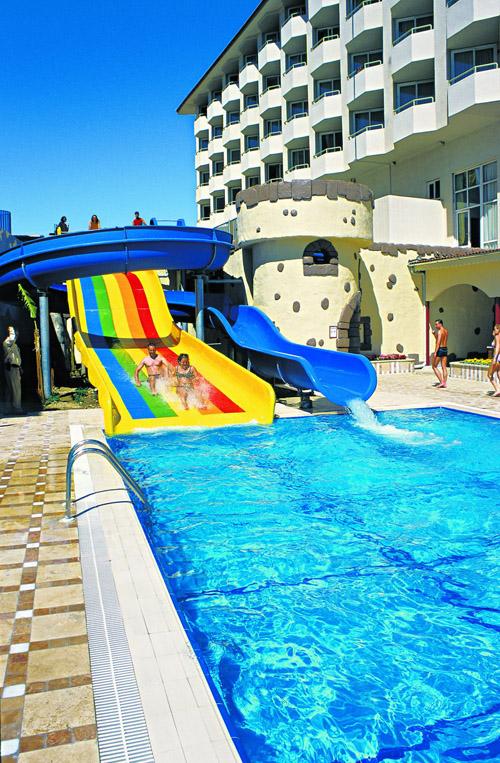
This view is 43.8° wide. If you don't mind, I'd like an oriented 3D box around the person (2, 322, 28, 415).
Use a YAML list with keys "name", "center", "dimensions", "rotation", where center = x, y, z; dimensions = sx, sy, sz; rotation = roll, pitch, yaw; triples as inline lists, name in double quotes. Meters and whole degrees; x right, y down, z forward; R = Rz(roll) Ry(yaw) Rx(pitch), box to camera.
- name: "person"
  center: [-4.047, -0.167, 10.554]
  dimensions: [0.309, 1.496, 0.888]
  rotation: [1, 6, -20]

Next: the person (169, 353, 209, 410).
- name: "person"
  center: [-1.103, 0.025, 10.498]
  dimensions: [0.542, 0.694, 1.201]
  rotation: [1, 23, -13]

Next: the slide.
- name: "slide"
  center: [-1.743, -0.830, 12.038]
  dimensions: [4.200, 2.316, 5.869]
  rotation: [-3, 15, -19]

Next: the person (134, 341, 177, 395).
- name: "person"
  center: [-1.688, -0.253, 10.871]
  dimensions: [0.690, 0.835, 1.103]
  rotation: [2, 6, -8]
